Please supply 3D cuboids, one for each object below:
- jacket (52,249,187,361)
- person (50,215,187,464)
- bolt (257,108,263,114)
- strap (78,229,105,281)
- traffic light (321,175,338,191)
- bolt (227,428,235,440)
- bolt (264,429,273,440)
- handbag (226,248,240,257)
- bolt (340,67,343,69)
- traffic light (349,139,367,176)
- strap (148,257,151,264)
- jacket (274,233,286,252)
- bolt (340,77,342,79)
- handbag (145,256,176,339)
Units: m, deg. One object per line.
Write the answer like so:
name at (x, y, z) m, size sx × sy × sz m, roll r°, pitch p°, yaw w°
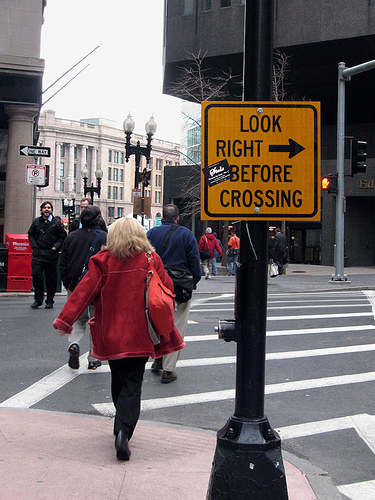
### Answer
jacket at (-0.480, 0.320, 4.333) m, size 0.850 × 0.860 × 0.325 m, roll -2°, pitch 19°, yaw -13°
person at (-0.440, 0.529, 4.330) m, size 0.824 × 1.502 × 0.612 m, roll -4°, pitch 15°, yaw -16°
bolt at (0.343, -0.651, 3.028) m, size 0.026 × 0.023 × 0.006 m, roll -6°, pitch -2°, yaw -8°
strap at (-1.000, 0.052, 6.872) m, size 0.108 × 0.508 × 0.300 m, roll 23°, pitch -4°, yaw -2°
traffic light at (4.549, -2.102, 20.497) m, size 0.584 × 0.641 × 0.417 m, roll 2°, pitch 9°, yaw 12°
bolt at (0.199, 0.845, 2.939) m, size 0.031 × 0.038 × 0.032 m, roll 6°, pitch 8°, yaw 36°
bolt at (0.375, 0.851, 2.951) m, size 0.033 × 0.040 × 0.035 m, roll 1°, pitch -2°, yaw 29°
handbag at (1.622, 0.108, 23.119) m, size 0.527 × 0.346 × 0.710 m, roll 0°, pitch -4°, yaw -3°
bolt at (4.697, -5.512, 19.572) m, size 0.049 × 0.043 × 0.014 m, roll -7°, pitch -2°, yaw 11°
traffic light at (4.967, -2.727, 18.600) m, size 0.409 × 0.993 × 0.946 m, roll -6°, pitch -2°, yaw 8°
strap at (-0.258, 0.076, 4.298) m, size 0.008 × 0.038 × 0.035 m, roll 3°, pitch -3°, yaw -12°
jacket at (3.194, -0.229, 22.112) m, size 0.475 × 0.696 × 0.283 m, roll -5°, pitch 22°, yaw -5°
bolt at (4.639, -5.153, 19.357) m, size 0.047 × 0.053 × 0.027 m, roll -1°, pitch 10°, yaw 9°
handbag at (-0.189, 0.344, 4.368) m, size 0.215 × 0.273 × 0.636 m, roll -12°, pitch 40°, yaw 2°
